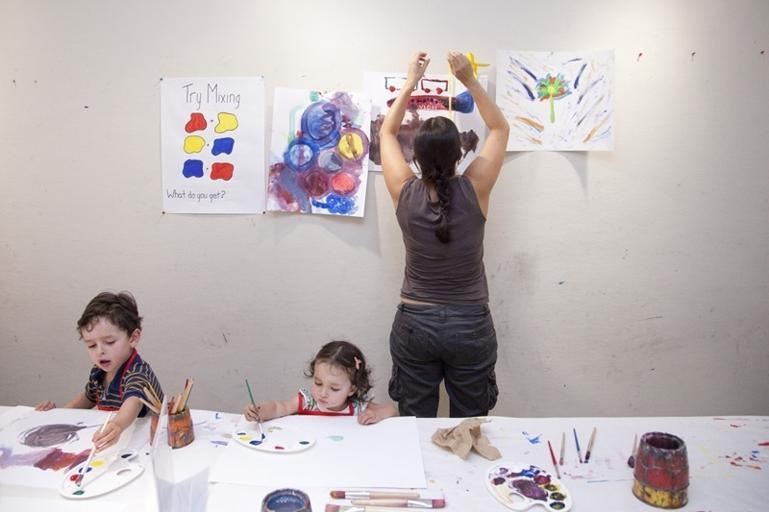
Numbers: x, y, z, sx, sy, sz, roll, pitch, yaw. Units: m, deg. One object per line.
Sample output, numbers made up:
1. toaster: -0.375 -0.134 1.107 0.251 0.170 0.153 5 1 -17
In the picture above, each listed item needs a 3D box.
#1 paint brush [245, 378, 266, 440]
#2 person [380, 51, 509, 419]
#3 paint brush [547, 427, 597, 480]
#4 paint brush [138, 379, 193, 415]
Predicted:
1. paint brush: -0.505 0.593 2.186 0.029 0.250 0.011 -28 -18 12
2. person: 0.256 -0.052 2.340 0.528 1.594 0.339 -1 9 0
3. paint brush: 0.620 0.654 1.838 0.093 0.016 0.145 3 33 18
4. paint brush: -0.760 0.490 1.937 0.171 0.152 0.147 1 -4 -5
